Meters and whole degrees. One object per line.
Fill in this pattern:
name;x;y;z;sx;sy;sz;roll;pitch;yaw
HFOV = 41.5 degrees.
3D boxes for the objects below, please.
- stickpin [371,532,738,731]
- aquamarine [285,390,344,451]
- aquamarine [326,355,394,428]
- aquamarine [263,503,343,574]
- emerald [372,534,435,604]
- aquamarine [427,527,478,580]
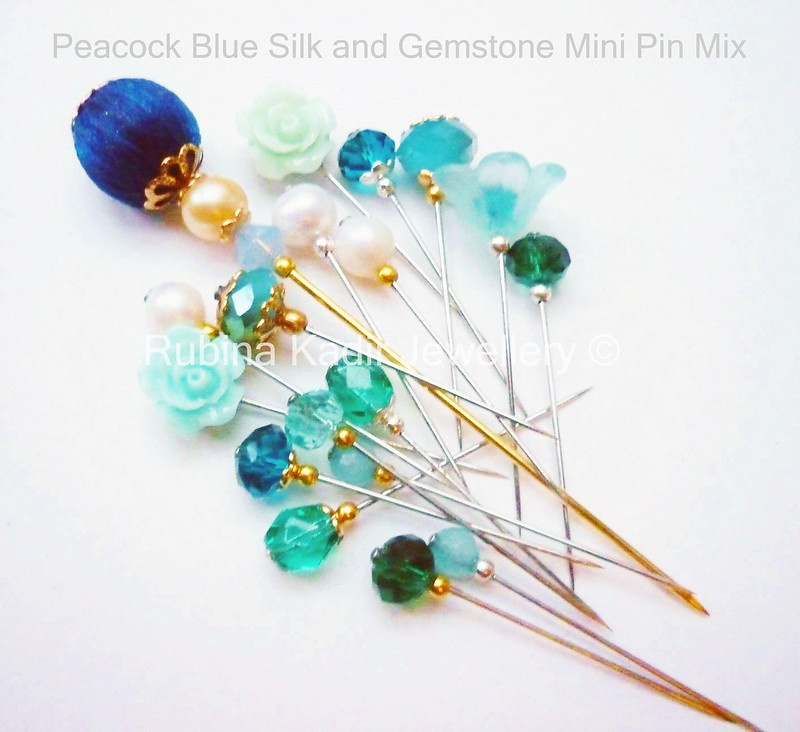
stickpin;0.358;0.680;2.593;0.595;0.140;0.131;30;-31;14
aquamarine;-0.213;0.139;2.625;0.143;0.077;0.139;-1;-67;-3
aquamarine;-0.096;0.063;2.718;0.168;0.131;0.136;37;-113;-4
aquamarine;-0.239;0.421;2.592;0.168;0.098;0.152;-32;-69;10
emerald;0.010;0.499;2.566;0.154;0.075;0.152;-8;-67;0
aquamarine;0.133;0.462;2.643;0.114;0.097;0.107;17;-81;17
